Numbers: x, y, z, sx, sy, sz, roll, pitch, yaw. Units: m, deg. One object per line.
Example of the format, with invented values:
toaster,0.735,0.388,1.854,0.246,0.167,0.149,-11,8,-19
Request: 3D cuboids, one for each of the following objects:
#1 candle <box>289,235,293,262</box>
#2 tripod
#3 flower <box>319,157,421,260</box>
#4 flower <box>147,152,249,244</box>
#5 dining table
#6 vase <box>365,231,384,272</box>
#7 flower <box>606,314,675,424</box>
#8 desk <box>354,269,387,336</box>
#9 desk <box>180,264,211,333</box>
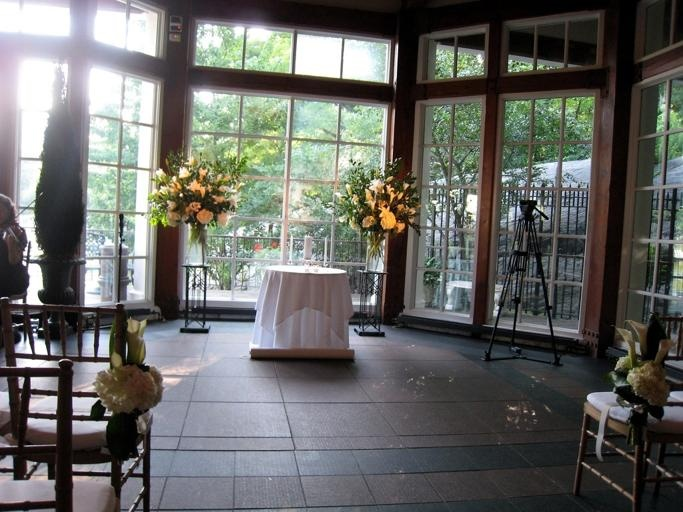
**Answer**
candle,-0.701,-0.099,7.078,0.056,0.350,0.066,2,7,-6
tripod,2.164,0.257,5.919,0.804,1.810,1.265,6,7,21
flower,0.372,-0.517,6.223,0.738,0.882,0.761,2,21,27
flower,-1.790,-0.561,6.242,0.657,0.873,0.821,-4,4,18
dining table,-0.372,0.620,5.586,1.006,0.915,0.791,5,-4,6
vase,0.434,-0.082,6.563,0.237,0.550,0.185,1,-19,4
flower,1.613,0.601,2.742,0.278,0.604,0.340,7,8,34
desk,0.398,0.639,6.964,0.479,0.904,0.485,2,3,9
desk,-1.873,0.471,6.540,0.348,0.856,1.079,1,7,-15
